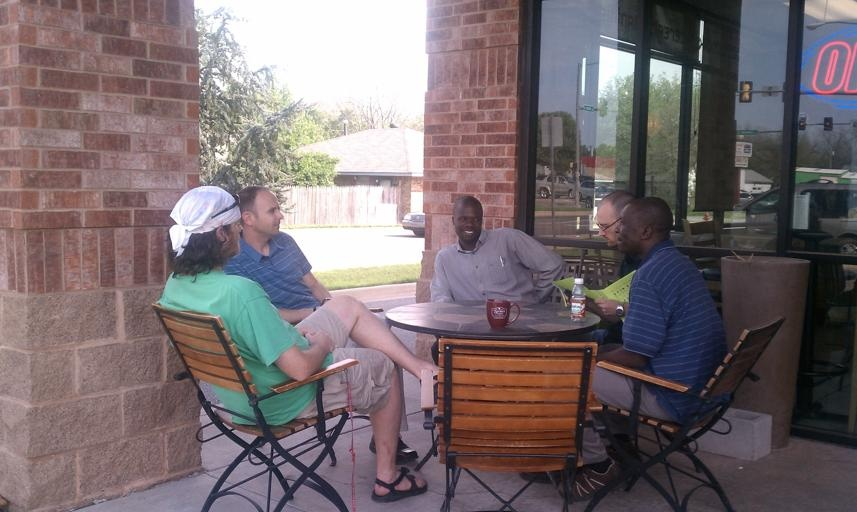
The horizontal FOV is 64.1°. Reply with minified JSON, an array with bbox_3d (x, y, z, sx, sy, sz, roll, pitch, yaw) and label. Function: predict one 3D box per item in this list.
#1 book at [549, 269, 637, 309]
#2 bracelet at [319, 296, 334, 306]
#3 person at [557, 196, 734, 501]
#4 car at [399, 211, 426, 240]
[{"bbox_3d":[1.410,0.296,5.819,0.569,0.162,0.309,-22,-19,24],"label":"book"},{"bbox_3d":[-0.927,0.401,6.182,0.104,0.054,0.136,-2,5,27],"label":"bracelet"},{"bbox_3d":[1.716,0.756,5.503,1.348,2.327,1.047,5,13,41],"label":"person"},{"bbox_3d":[-0.584,-1.418,29.989,1.055,0.763,2.223,0,-2,5],"label":"car"}]
